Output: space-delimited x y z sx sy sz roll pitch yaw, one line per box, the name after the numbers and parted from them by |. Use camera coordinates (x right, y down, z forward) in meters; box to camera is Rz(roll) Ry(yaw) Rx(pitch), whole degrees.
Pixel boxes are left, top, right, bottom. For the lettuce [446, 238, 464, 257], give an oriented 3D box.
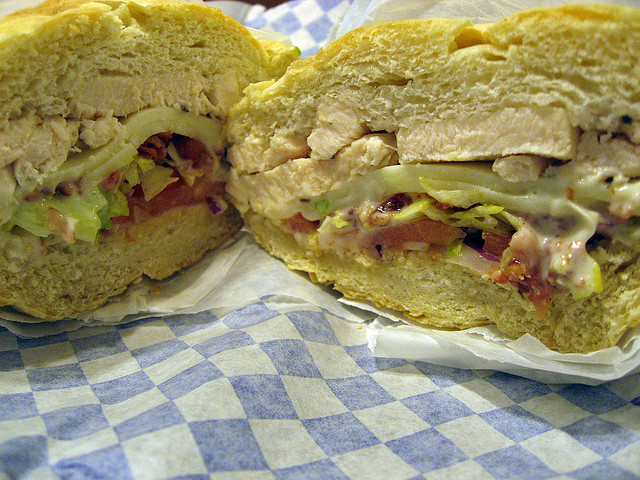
0.499 0.029 2.249 0.077 0.061 0.019 9 21 5 | lettuce

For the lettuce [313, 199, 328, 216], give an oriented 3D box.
0.007 -0.133 2.444 0.071 0.057 0.020 -16 8 37 | lettuce
